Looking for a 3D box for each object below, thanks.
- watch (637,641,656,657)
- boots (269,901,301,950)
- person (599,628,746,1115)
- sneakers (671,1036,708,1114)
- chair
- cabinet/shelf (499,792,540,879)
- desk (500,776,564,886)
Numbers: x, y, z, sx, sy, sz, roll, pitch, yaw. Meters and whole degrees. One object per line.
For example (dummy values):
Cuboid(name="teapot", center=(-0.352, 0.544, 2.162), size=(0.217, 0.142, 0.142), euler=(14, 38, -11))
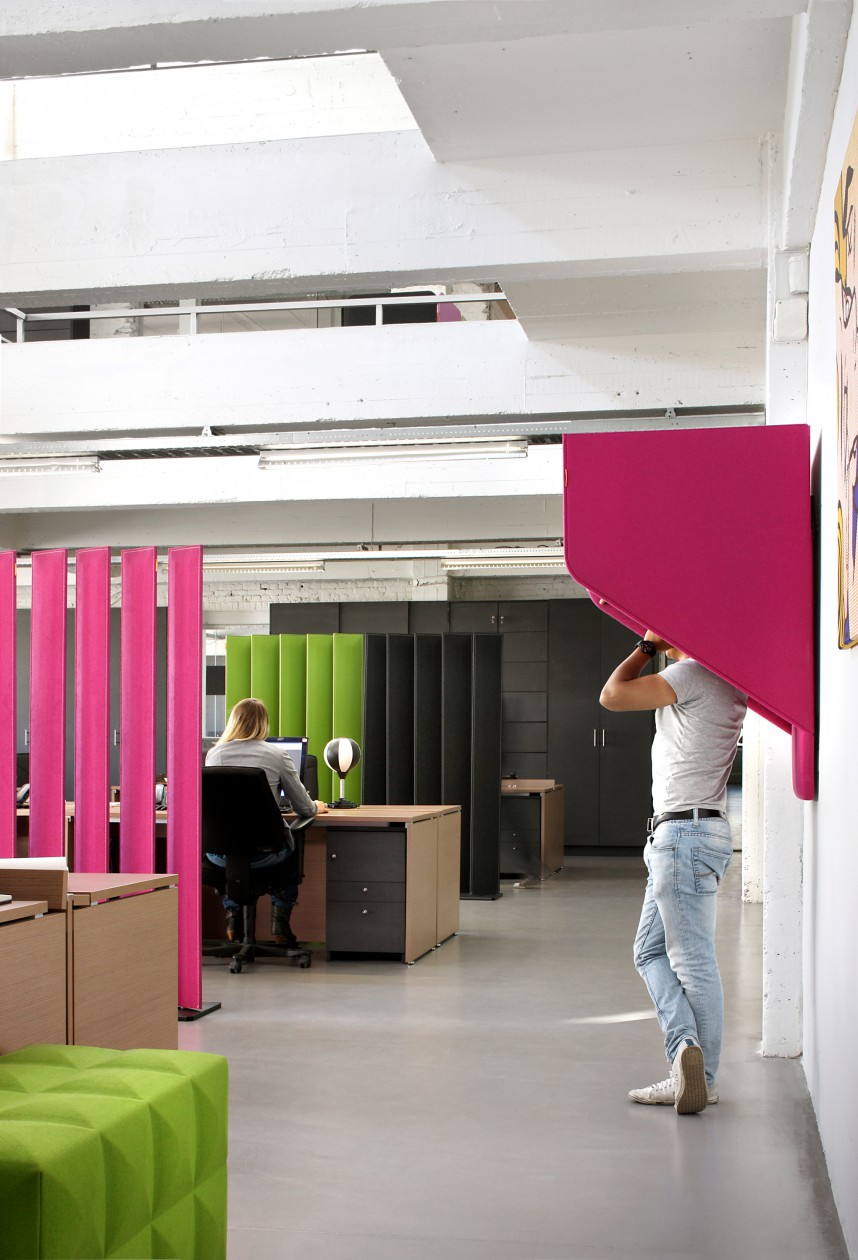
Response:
Cuboid(name="watch", center=(0.672, 0.066, 4.389), size=(0.049, 0.040, 0.044), euler=(-6, 5, 20))
Cuboid(name="boots", center=(-0.681, 1.483, 7.088), size=(0.099, 0.219, 0.287), euler=(1, 3, 8))
Cuboid(name="person", center=(0.739, 0.721, 4.240), size=(0.415, 1.429, 0.373), euler=(-1, -3, 13))
Cuboid(name="sneakers", center=(0.764, 1.315, 4.163), size=(0.079, 0.242, 0.097), euler=(-3, 2, -2))
Cuboid(name="chair", center=(-0.813, 1.132, 6.673), size=(0.495, 0.987, 1.021), euler=(0, -3, -8))
Cuboid(name="cabinet/shelf", center=(0.679, 1.581, 10.703), size=(0.273, 0.638, 0.357), euler=(-1, -3, 3))
Cuboid(name="desk", center=(0.718, 1.513, 10.962), size=(0.646, 0.656, 0.396), euler=(2, 3, 36))
